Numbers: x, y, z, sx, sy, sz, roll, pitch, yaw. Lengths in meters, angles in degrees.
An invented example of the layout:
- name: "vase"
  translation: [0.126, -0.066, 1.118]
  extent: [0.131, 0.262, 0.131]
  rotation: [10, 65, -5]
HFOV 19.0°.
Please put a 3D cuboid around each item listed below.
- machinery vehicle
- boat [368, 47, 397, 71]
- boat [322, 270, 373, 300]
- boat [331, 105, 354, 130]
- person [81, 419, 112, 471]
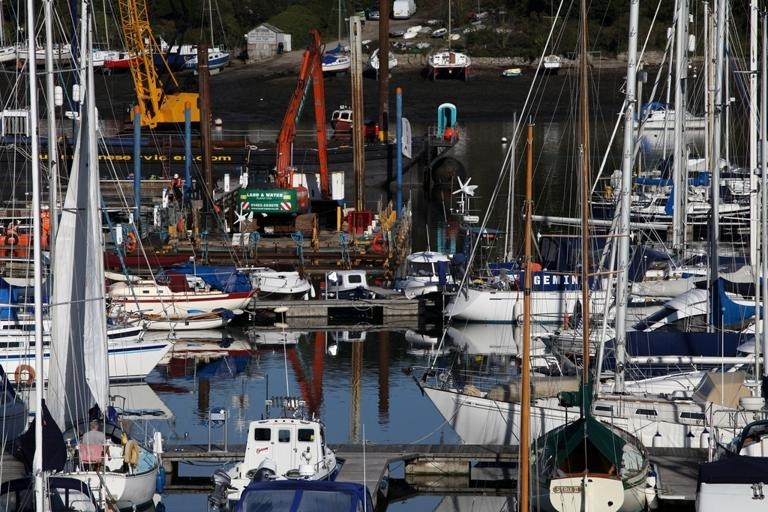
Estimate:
- name: "machinery vehicle"
  translation: [-4.487, -6.332, 123.558]
  extent: [4.768, 10.272, 8.415]
  rotation: [3, 10, 26]
- name: "boat"
  translation: [-0.122, -14.668, 175.097]
  extent: [1.597, 1.682, 4.942]
  rotation: [5, 21, 3]
- name: "boat"
  translation: [-1.702, 1.407, 112.620]
  extent: [2.352, 1.189, 1.581]
  rotation: [-1, 6, 5]
- name: "boat"
  translation: [-2.576, -9.026, 151.510]
  extent: [1.451, 1.025, 2.216]
  rotation: [0, 8, -2]
- name: "person"
  translation: [-11.848, 7.768, 94.476]
  extent: [1.053, 1.829, 1.411]
  rotation: [1, 6, 21]
